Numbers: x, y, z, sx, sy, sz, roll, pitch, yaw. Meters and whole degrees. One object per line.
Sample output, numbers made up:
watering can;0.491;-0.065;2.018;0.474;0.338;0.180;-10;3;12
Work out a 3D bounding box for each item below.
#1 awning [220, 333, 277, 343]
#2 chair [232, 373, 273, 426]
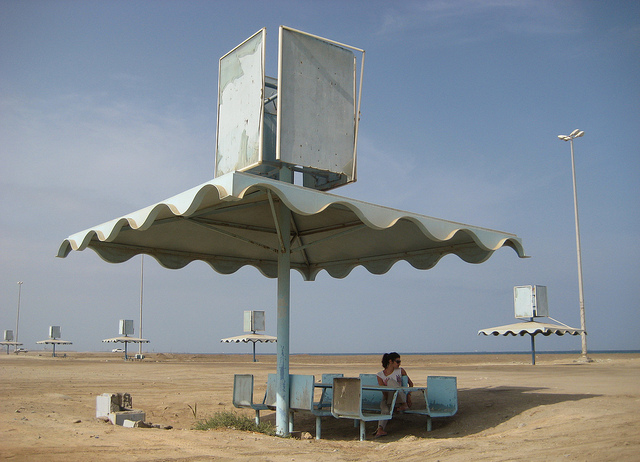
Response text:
awning;-4.289;6.732;63.473;1.949;0.853;3.880;5;-13;-24
chair;-1.989;5.028;30.885;1.155;1.789;1.098;4;-4;-37
